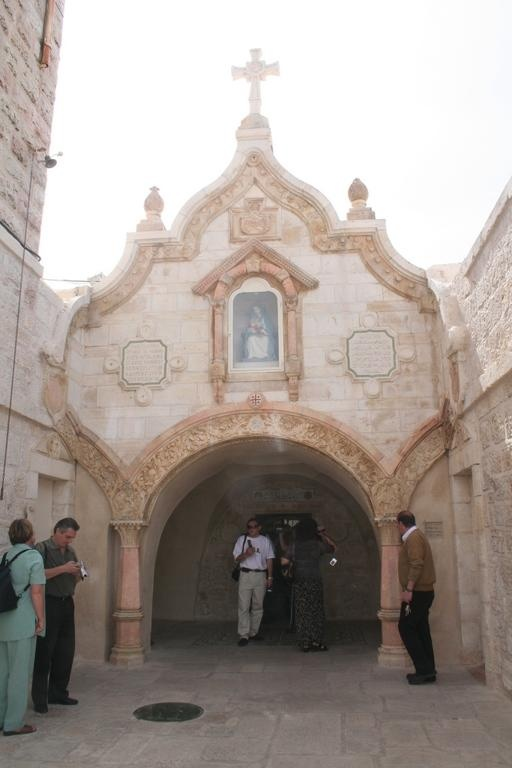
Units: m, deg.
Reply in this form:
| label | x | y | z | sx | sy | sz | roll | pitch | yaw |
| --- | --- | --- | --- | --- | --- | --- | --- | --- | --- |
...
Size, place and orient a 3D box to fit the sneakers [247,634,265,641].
| label | x | y | z | sx | sy | sz | roll | pitch | yaw |
| --- | --- | --- | --- | --- | --- | --- | --- | --- | --- |
| sneakers | -0.003 | 3.234 | 7.656 | 0.221 | 0.133 | 0.074 | 0 | -14 | -1 |

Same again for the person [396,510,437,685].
| label | x | y | z | sx | sy | sz | roll | pitch | yaw |
| --- | --- | --- | --- | --- | --- | --- | --- | --- | --- |
| person | 1.377 | 1.843 | 5.264 | 0.343 | 1.421 | 0.380 | -11 | -18 | 28 |

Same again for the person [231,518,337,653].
| label | x | y | z | sx | sy | sz | roll | pitch | yaw |
| --- | --- | --- | --- | --- | --- | --- | --- | --- | --- |
| person | 0.290 | 2.402 | 7.331 | 0.781 | 1.486 | 1.344 | 8 | -19 | -33 |

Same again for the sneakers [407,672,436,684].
| label | x | y | z | sx | sy | sz | roll | pitch | yaw |
| --- | --- | --- | --- | --- | --- | --- | --- | --- | --- |
| sneakers | 1.397 | 2.464 | 5.052 | 0.176 | 0.068 | 0.101 | 7 | -17 | 6 |

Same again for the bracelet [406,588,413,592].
| label | x | y | z | sx | sy | sz | roll | pitch | yaw |
| --- | --- | --- | --- | --- | --- | --- | --- | --- | --- |
| bracelet | 1.313 | 1.772 | 5.153 | 0.059 | 0.046 | 0.099 | -6 | -16 | 13 |

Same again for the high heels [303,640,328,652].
| label | x | y | z | sx | sy | sz | roll | pitch | yaw |
| --- | --- | --- | --- | --- | --- | --- | --- | --- | --- |
| high heels | 0.641 | 2.950 | 6.709 | 0.302 | 0.123 | 0.108 | -3 | -9 | 1 |

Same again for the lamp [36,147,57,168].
| label | x | y | z | sx | sy | sz | roll | pitch | yaw |
| --- | --- | --- | --- | --- | --- | --- | --- | --- | --- |
| lamp | -1.935 | -2.096 | 5.508 | 0.146 | 0.211 | 0.217 | -2 | -15 | -4 |
